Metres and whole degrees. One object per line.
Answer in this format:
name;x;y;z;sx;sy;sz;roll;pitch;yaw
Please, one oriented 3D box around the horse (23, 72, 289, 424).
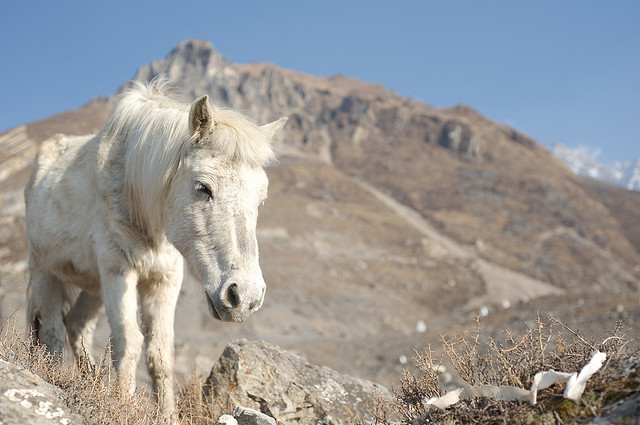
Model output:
horse;-3.225;0.701;20.991;4.479;5.730;1.796;4;15;12
